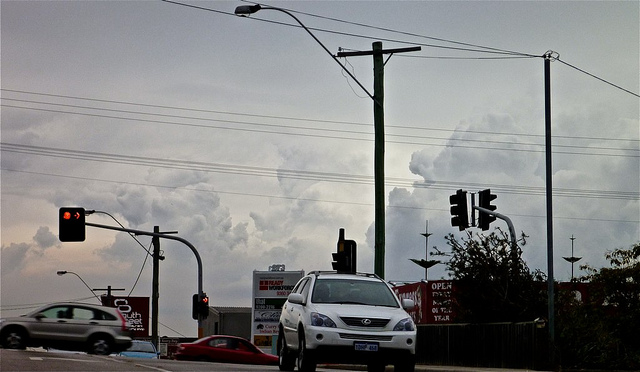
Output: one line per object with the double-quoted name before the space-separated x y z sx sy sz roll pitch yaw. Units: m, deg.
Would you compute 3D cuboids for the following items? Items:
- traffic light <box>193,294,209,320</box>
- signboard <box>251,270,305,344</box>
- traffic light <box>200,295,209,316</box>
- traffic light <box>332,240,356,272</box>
"traffic light" -6.532 6.457 58.367 0.834 1.471 0.714 7 -19 -15
"signboard" -3.453 8.144 74.258 3.020 5.051 1.632 -4 -19 17
"traffic light" -6.359 6.410 58.367 0.429 1.066 0.361 4 -19 -6
"traffic light" 1.111 3.091 49.416 0.934 1.722 0.944 2 -18 -1
